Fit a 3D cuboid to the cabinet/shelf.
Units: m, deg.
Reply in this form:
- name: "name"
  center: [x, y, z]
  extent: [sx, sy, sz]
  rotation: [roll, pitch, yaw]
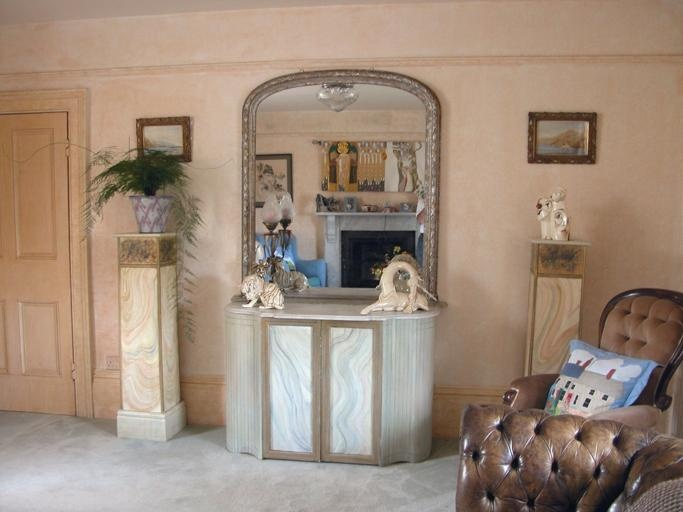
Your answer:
- name: "cabinet/shelf"
  center: [-0.091, 0.945, 5.176]
  extent: [1.671, 1.134, 0.602]
  rotation: [1, 4, 9]

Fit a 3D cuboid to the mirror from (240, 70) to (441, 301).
- name: "mirror"
  center: [0.067, -0.563, 5.272]
  extent: [1.732, 2.019, 0.082]
  rotation: [0, 4, 1]

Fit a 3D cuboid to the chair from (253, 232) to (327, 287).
- name: "chair"
  center: [-0.359, 0.055, 5.456]
  extent: [0.419, 0.574, 0.474]
  rotation: [2, -2, -41]

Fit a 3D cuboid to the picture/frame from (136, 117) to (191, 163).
- name: "picture/frame"
  center: [-1.413, -0.934, 5.460]
  extent: [0.386, 0.323, 0.032]
  rotation: [1, 5, 8]

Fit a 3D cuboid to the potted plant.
- name: "potted plant"
  center: [-1.631, -0.090, 5.455]
  extent: [0.921, 1.558, 0.395]
  rotation: [2, 4, 17]

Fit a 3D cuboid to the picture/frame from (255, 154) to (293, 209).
- name: "picture/frame"
  center: [-0.520, -0.598, 5.366]
  extent: [0.413, 0.503, 0.020]
  rotation: [0, 3, 5]
